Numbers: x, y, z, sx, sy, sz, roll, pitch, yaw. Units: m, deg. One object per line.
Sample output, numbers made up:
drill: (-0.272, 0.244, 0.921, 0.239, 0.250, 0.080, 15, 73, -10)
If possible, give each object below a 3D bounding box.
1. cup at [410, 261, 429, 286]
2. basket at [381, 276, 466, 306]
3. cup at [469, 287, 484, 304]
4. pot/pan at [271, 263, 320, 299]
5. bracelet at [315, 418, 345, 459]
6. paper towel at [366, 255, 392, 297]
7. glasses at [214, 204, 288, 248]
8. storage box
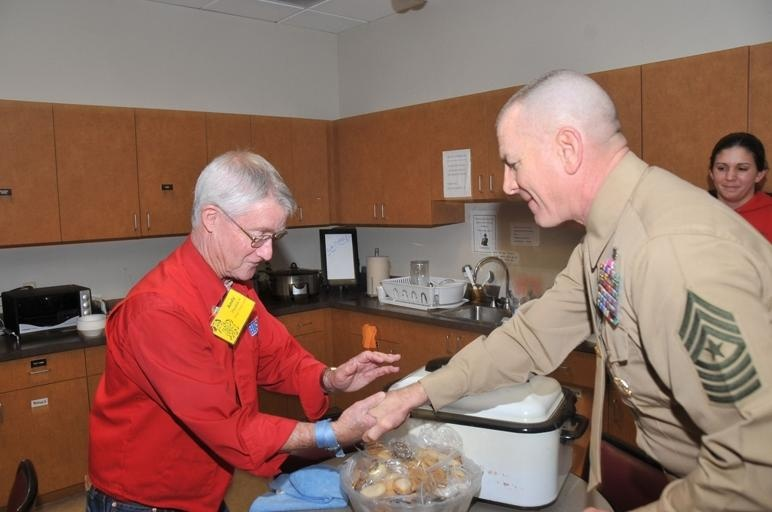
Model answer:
cup: (0.283, 0.144, 4.406, 0.177, 0.292, 0.178, -1, 6, 0)
basket: (0.280, 0.294, 4.203, 0.298, 0.134, 0.439, -2, 1, -38)
cup: (0.709, 0.308, 4.151, 0.112, 0.130, 0.120, -1, -2, 0)
pot/pan: (-0.788, 0.196, 4.656, 0.299, 0.207, 0.290, 0, 7, 12)
bracelet: (-0.200, 0.638, 1.826, 0.085, 0.146, 0.074, -6, 6, -6)
paper towel: (-0.084, 0.155, 4.703, 0.281, 0.444, 0.349, 1, 3, 10)
glasses: (-0.491, -0.099, 1.876, 0.051, 0.171, 0.164, -41, -3, 9)
storage box: (0.388, 0.624, 1.921, 0.578, 0.349, 0.337, -3, 2, 26)
